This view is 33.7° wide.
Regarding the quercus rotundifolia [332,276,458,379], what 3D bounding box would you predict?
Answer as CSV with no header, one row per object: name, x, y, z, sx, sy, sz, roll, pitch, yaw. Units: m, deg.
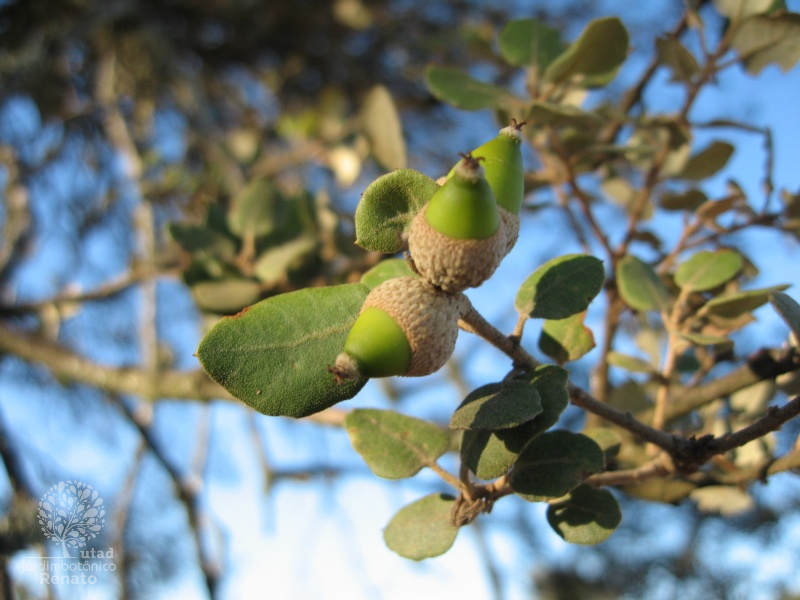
quercus rotundifolia,-0.003,0.044,2.141,0.216,0.056,0.156,-7,75,3

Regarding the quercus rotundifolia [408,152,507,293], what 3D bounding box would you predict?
quercus rotundifolia,0.105,-0.130,2.153,0.140,0.221,0.148,-11,30,-30

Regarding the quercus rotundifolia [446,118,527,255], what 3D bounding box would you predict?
quercus rotundifolia,0.164,-0.197,2.208,0.098,0.073,0.235,5,97,0
